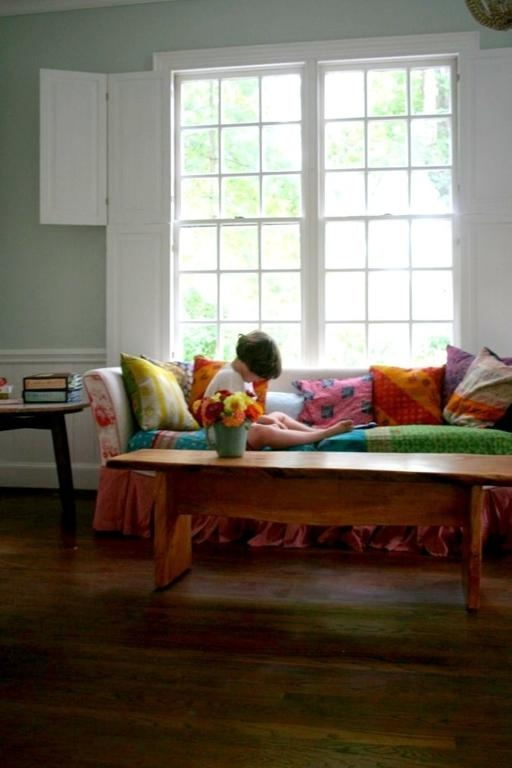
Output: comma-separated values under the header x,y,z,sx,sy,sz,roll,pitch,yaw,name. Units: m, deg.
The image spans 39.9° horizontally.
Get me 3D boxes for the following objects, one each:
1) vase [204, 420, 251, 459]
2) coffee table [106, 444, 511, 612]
x,y,z,sx,sy,sz,roll,pitch,yaw,name
-0.098,0.186,2.350,0.137,0.103,0.109,-4,0,7,vase
0.177,0.454,2.251,1.225,0.456,0.504,1,0,14,coffee table
